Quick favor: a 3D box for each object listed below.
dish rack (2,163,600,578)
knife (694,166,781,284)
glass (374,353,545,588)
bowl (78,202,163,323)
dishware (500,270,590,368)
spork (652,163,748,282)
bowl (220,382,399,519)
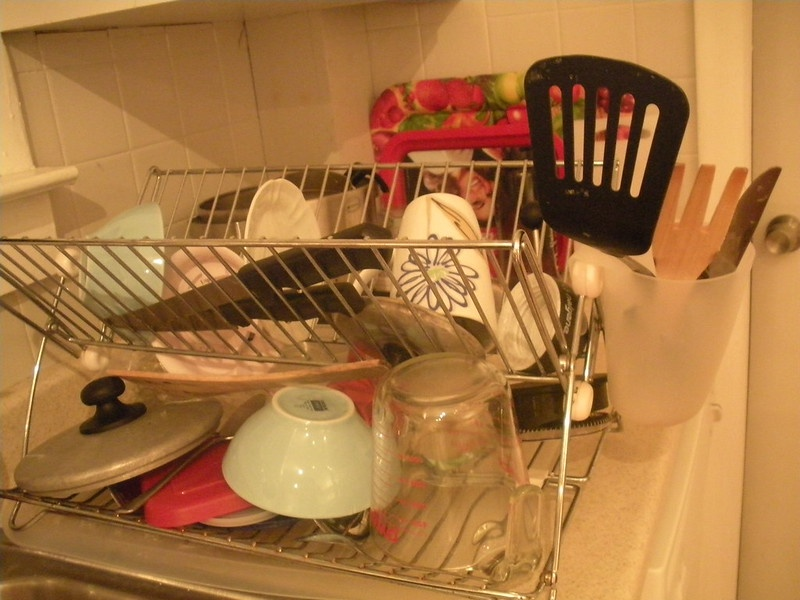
[{"bbox_3d":[-0.085,0.169,0.795,0.628,0.296,0.424,6,40,12],"label":"dish rack"},{"bbox_3d":[0.340,-0.075,0.614,0.060,0.110,0.038,-31,37,-33],"label":"knife"},{"bbox_3d":[0.046,0.142,0.530,0.148,0.137,0.141,-1,31,13],"label":"glass"},{"bbox_3d":[-0.290,-0.032,0.686,0.103,0.132,0.058,-10,-14,36],"label":"bowl"},{"bbox_3d":[0.171,0.015,0.702,0.043,0.095,0.100,18,54,-24],"label":"dishware"},{"bbox_3d":[0.307,-0.068,0.657,0.076,0.148,0.012,9,26,4],"label":"spork"},{"bbox_3d":[-0.093,0.135,0.618,0.174,0.075,0.169,8,18,-3],"label":"bowl"}]
